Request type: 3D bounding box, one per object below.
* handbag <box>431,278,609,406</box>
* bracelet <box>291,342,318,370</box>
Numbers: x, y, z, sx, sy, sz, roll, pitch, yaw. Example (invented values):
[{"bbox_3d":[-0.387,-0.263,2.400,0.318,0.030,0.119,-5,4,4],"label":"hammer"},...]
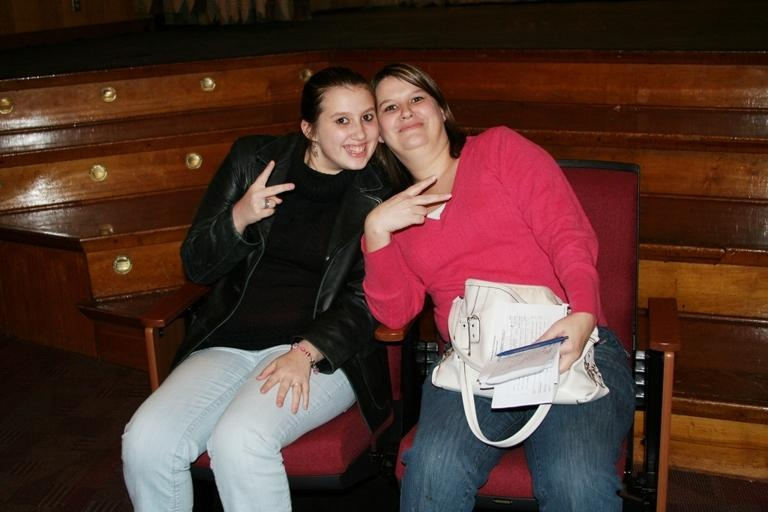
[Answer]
[{"bbox_3d":[0.388,0.271,1.794,0.523,0.331,0.278,6,19,20],"label":"handbag"},{"bbox_3d":[-0.260,0.340,2.060,0.029,0.074,0.096,-40,76,-15],"label":"bracelet"}]
